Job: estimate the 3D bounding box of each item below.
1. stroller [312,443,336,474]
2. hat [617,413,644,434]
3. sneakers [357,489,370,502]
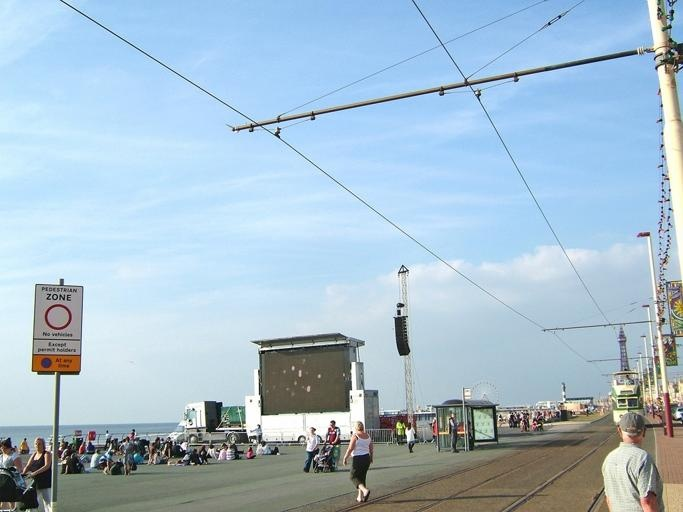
[{"bbox_3d":[-0.626,7.899,31.350,0.737,1.177,1.187,-6,-20,24],"label":"stroller"},{"bbox_3d":[5.259,3.007,14.531,0.294,0.256,0.467,-1,11,22],"label":"hat"},{"bbox_3d":[0.636,6.794,22.581,0.239,0.581,0.181,15,11,31],"label":"sneakers"}]
